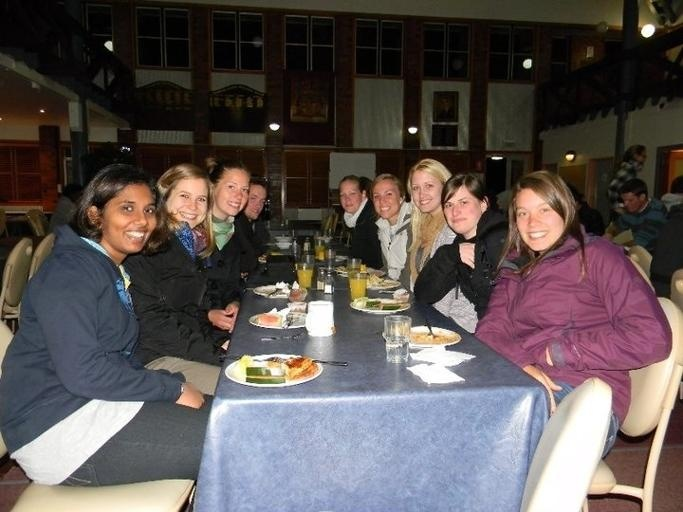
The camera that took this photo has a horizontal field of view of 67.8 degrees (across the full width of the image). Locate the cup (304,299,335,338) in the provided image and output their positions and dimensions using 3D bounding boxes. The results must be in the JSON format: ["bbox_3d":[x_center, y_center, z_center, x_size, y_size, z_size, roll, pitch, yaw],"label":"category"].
[{"bbox_3d":[-0.067,0.255,2.128,0.100,0.131,0.155,3,7,16],"label":"cup"}]

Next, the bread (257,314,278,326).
[{"bbox_3d":[-0.320,0.273,2.166,0.066,0.029,0.040,0,27,37],"label":"bread"}]

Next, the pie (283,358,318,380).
[{"bbox_3d":[-0.137,0.375,1.701,0.082,0.026,0.062,-3,6,-23],"label":"pie"}]

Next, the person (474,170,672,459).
[{"bbox_3d":[0.801,0.247,2.120,0.862,1.143,0.754,-5,1,40],"label":"person"}]

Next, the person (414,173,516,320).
[{"bbox_3d":[0.628,0.097,2.842,0.574,0.955,0.425,3,5,5],"label":"person"}]

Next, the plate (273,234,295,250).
[{"bbox_3d":[-0.630,-0.146,5.519,0.212,0.142,0.217,0,0,2],"label":"plate"}]

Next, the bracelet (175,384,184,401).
[{"bbox_3d":[-0.596,0.501,1.886,0.011,0.040,0.031,27,-23,-32],"label":"bracelet"}]

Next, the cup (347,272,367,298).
[{"bbox_3d":[0.050,0.161,2.734,0.129,0.140,0.126,-1,-2,0],"label":"cup"}]

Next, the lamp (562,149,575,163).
[{"bbox_3d":[5.005,-2.203,11.230,0.216,0.215,0.239,-4,5,-23],"label":"lamp"}]

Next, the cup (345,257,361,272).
[{"bbox_3d":[0.067,0.054,3.098,0.074,0.076,0.082,0,-3,20],"label":"cup"}]

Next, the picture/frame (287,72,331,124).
[{"bbox_3d":[-0.802,-3.563,11.497,1.232,1.286,0.176,0,5,-4],"label":"picture/frame"}]

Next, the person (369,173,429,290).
[{"bbox_3d":[0.423,-0.171,3.720,0.293,0.849,0.790,8,-19,-13],"label":"person"}]
